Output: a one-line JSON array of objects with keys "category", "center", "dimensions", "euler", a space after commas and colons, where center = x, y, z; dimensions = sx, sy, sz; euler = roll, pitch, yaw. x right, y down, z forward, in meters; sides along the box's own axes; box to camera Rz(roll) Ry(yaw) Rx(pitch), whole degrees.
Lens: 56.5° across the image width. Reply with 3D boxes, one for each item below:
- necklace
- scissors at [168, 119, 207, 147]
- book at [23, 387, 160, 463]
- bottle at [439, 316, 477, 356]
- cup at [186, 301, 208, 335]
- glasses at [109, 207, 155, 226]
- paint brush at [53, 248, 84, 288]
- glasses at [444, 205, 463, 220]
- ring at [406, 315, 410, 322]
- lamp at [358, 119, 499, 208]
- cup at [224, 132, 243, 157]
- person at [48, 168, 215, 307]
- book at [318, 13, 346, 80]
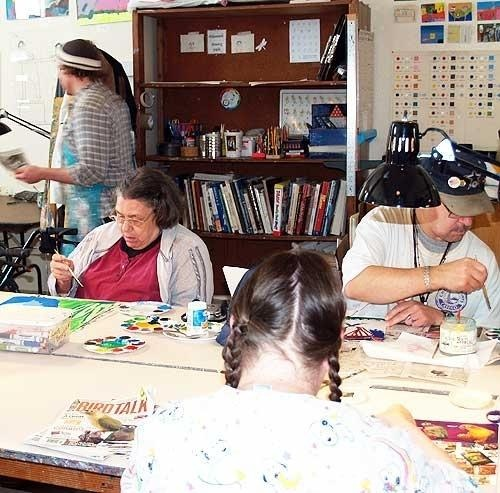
[{"category": "necklace", "center": [0.738, 0.034, 1.986], "dimensions": [0.137, 0.406, 0.033], "euler": [8, 5, 30]}, {"category": "scissors", "center": [-0.563, -0.972, 3.942], "dimensions": [0.274, 0.198, 0.287], "euler": [0, 0, -6]}, {"category": "book", "center": [-0.360, 0.425, 1.108], "dimensions": [0.248, 0.058, 0.231], "euler": [5, 12, 27]}, {"category": "bottle", "center": [0.667, 0.289, 1.544], "dimensions": [0.129, 0.109, 0.119], "euler": [0, 6, 6]}, {"category": "cup", "center": [-0.209, 0.268, 1.764], "dimensions": [0.089, 0.108, 0.084], "euler": [0, 4, 0]}, {"category": "glasses", "center": [-0.540, -0.152, 2.180], "dimensions": [0.193, 0.112, 0.085], "euler": [-1, 11, 1]}, {"category": "paint brush", "center": [-0.893, 0.112, 2.302], "dimensions": [0.044, 0.242, 0.013], "euler": [-22, 31, 20]}, {"category": "glasses", "center": [0.749, -0.130, 1.738], "dimensions": [0.064, 0.046, 0.031], "euler": [26, -27, -2]}, {"category": "ring", "center": [0.600, 0.271, 1.774], "dimensions": [0.023, 0.019, 0.005], "euler": [-2, -11, -11]}, {"category": "lamp", "center": [0.430, -0.239, 1.425], "dimensions": [0.564, 0.246, 0.236], "euler": [-1, 5, -11]}, {"category": "cup", "center": [-0.144, -0.827, 3.746], "dimensions": [0.148, 0.210, 0.120], "euler": [0, 11, 5]}, {"category": "person", "center": [-0.580, 0.005, 2.337], "dimensions": [0.887, 0.668, 0.563], "euler": [8, 18, 19]}, {"category": "book", "center": [0.573, -1.381, 3.241], "dimensions": [0.205, 0.411, 0.157], "euler": [2, 12, 17]}]
